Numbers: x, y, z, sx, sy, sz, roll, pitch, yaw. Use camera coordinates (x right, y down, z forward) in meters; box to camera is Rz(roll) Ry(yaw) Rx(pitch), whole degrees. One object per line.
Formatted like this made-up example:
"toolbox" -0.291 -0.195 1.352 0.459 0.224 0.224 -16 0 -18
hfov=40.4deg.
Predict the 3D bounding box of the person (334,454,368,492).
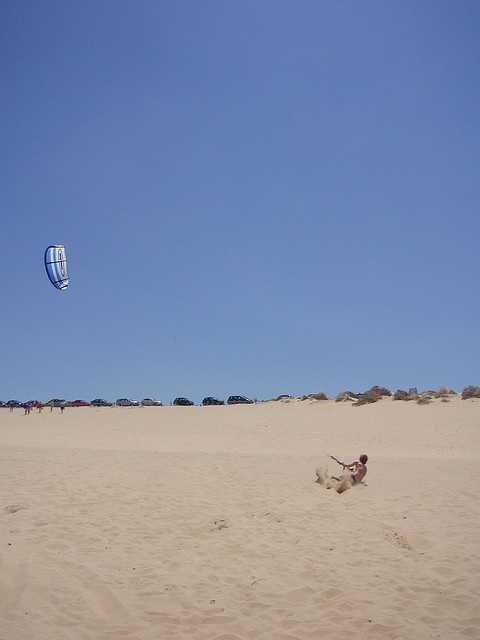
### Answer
"person" 2.126 2.903 12.290 0.461 0.493 0.939 -3 -3 26
